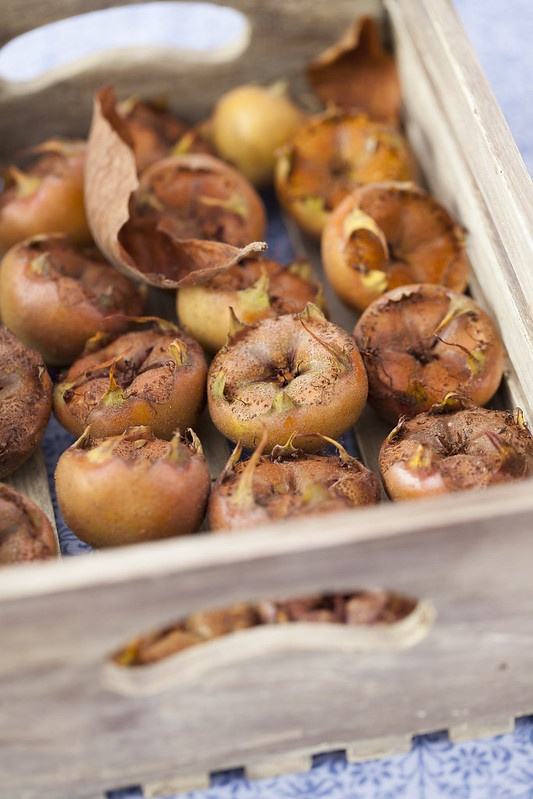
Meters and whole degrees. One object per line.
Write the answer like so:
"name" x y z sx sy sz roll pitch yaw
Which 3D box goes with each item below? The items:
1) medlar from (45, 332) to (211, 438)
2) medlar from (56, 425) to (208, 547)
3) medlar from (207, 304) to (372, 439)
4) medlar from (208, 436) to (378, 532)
"medlar" -0.154 -0.022 1.011 0.163 0.092 0.142 -17 48 0
"medlar" -0.132 0.091 0.905 0.147 0.133 0.138 6 21 15
"medlar" 0.038 -0.006 0.995 0.173 0.106 0.151 -23 59 -8
"medlar" 0.023 0.100 0.856 0.136 0.051 0.114 -5 31 1
